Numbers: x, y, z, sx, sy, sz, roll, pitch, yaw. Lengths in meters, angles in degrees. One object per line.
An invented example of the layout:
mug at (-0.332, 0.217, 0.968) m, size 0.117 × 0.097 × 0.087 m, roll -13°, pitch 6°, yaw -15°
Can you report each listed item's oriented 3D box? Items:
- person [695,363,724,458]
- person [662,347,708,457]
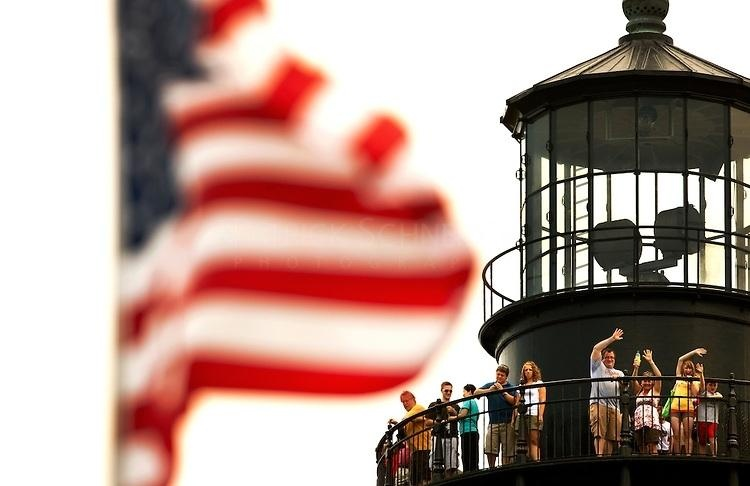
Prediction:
person at (6.488, 3.336, 39.895) m, size 0.413 × 1.691 × 0.384 m, roll 5°, pitch -1°, yaw -11°
person at (6.084, 3.136, 39.985) m, size 0.642 × 2.115 × 0.624 m, roll 5°, pitch -1°, yaw -5°
